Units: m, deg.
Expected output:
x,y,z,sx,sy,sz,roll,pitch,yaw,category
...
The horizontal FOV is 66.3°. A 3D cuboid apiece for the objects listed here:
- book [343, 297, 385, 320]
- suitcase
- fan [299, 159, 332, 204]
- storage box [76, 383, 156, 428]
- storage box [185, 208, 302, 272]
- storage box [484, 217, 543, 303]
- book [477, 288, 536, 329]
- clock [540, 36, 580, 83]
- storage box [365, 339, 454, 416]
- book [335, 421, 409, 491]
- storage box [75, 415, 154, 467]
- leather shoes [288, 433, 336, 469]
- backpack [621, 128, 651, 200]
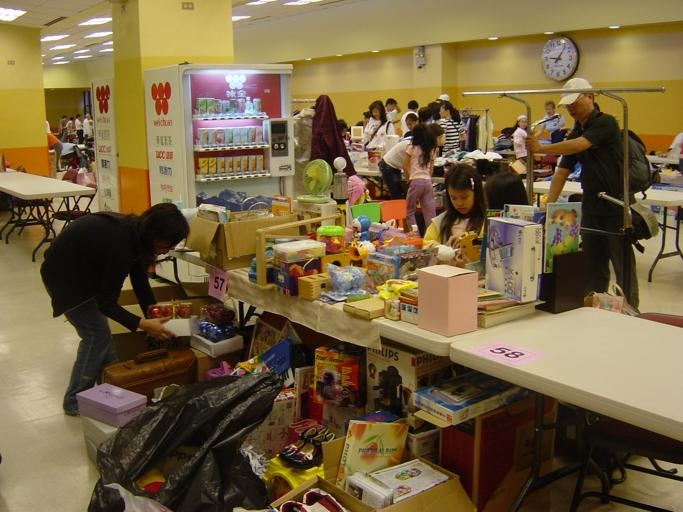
x,y,z,sx,sy,sz,roll,pitch,yaw,category
0.145,0.275,2.791,0.131,0.031,0.134,-16,20,-42,book
-1.336,0.666,3.680,0.339,0.336,0.511,22,24,39,suitcase
-0.243,-0.655,4.635,0.362,0.373,0.390,2,5,14,fan
-1.421,0.842,3.247,0.373,0.108,0.205,12,22,34,storage box
-0.803,-0.154,3.802,0.562,0.252,0.420,-11,18,-40,storage box
0.853,0.021,2.580,0.146,0.291,0.402,-2,8,-15,storage box
0.787,0.260,2.594,0.208,0.064,0.204,-11,18,-36,book
5.288,-4.767,12.708,0.241,1.086,0.888,-11,13,-39,clock
0.362,0.620,2.681,0.268,0.463,0.485,-2,3,-38,storage box
0.143,0.985,2.556,0.319,0.299,0.109,1,-3,-27,book
-1.458,1.127,3.355,0.325,0.425,0.428,-6,9,-44,storage box
-0.167,1.039,2.859,0.172,0.093,0.267,9,17,41,leather shoes
2.644,-0.813,4.648,0.190,0.583,0.911,3,12,30,backpack
